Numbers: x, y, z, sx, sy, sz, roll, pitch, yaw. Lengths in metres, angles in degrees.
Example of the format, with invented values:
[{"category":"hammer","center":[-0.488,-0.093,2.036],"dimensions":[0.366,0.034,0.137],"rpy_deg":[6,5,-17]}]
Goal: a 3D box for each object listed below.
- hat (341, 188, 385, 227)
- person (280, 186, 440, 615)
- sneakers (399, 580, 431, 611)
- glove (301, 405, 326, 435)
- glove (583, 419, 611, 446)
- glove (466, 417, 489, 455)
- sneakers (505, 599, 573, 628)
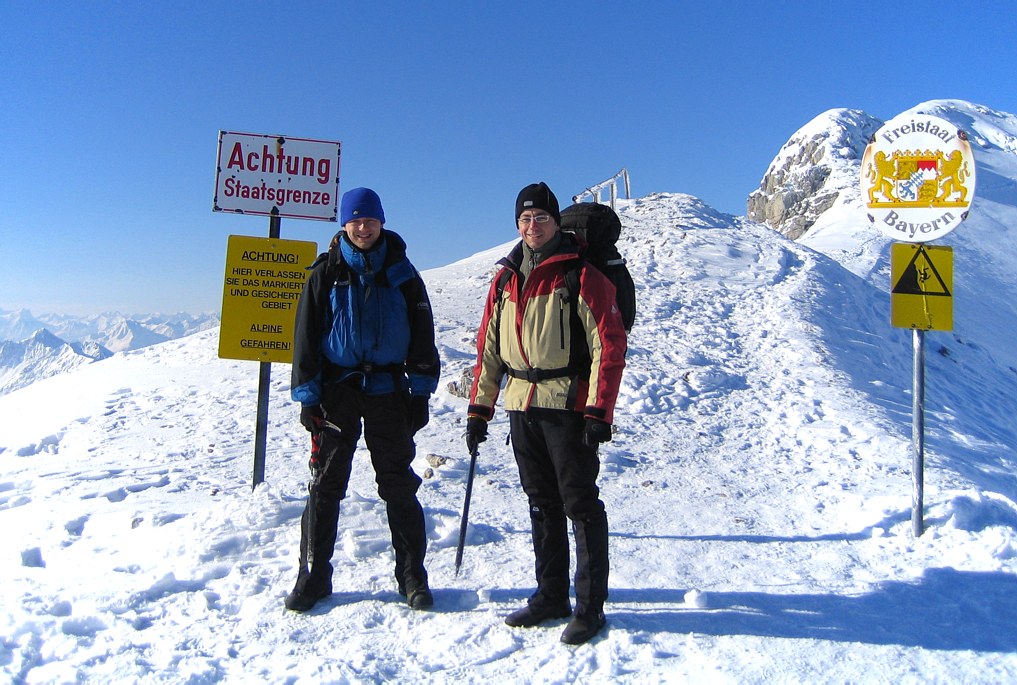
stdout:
[{"category":"hat","center":[-1.469,-1.368,8.163],"dimensions":[0.390,0.368,0.406],"rpy_deg":[0,-3,-11]},{"category":"person","center":[-1.447,0.565,8.331],"dimensions":[1.409,4.219,0.406],"rpy_deg":[0,-3,-14]},{"category":"sneakers","center":[-0.946,2.553,8.271],"dimensions":[0.331,0.268,0.199],"rpy_deg":[0,-3,-3]},{"category":"glove","center":[-2.014,0.778,8.255],"dimensions":[0.232,0.279,0.170],"rpy_deg":[-2,-4,37]},{"category":"glove","center":[0.856,0.853,7.758],"dimensions":[0.267,0.131,0.210],"rpy_deg":[1,-23,-17]},{"category":"glove","center":[-0.326,0.963,8.378],"dimensions":[0.232,0.362,0.171],"rpy_deg":[3,-7,31]},{"category":"sneakers","center":[0.280,2.659,8.020],"dimensions":[0.710,0.273,0.233],"rpy_deg":[1,-5,-6]}]
